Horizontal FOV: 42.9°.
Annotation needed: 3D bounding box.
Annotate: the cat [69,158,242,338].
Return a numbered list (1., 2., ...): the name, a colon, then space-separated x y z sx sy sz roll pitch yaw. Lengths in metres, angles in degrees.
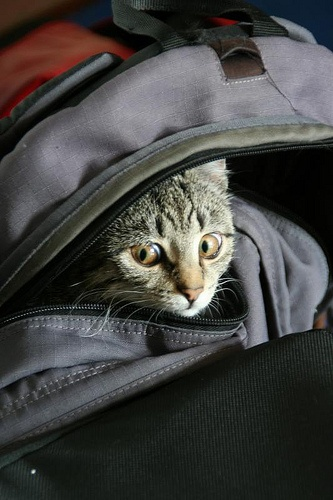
1. cat: -0.081 -0.010 0.850 0.372 0.483 0.221 -11 96 -29
